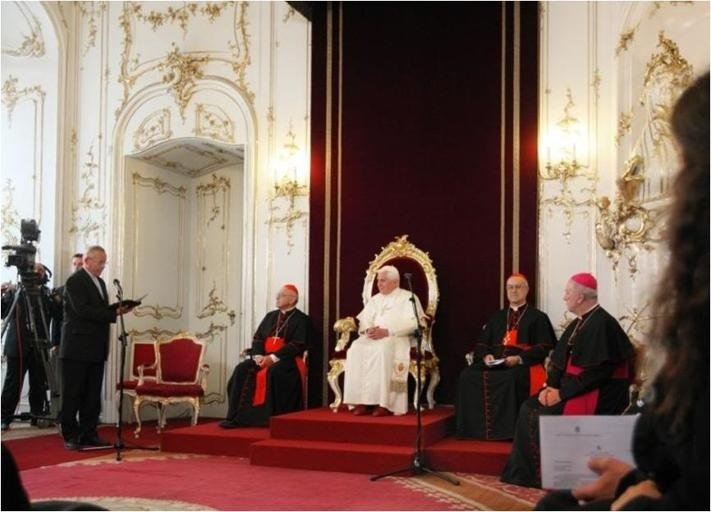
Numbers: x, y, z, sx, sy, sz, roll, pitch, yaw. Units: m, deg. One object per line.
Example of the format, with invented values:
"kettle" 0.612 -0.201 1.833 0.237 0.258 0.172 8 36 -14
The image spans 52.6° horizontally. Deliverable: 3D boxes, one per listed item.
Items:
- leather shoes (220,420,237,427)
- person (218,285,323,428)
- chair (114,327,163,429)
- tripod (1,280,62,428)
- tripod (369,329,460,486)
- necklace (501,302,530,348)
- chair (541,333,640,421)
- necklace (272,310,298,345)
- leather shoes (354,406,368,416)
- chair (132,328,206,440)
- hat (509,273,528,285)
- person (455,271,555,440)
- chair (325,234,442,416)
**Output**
"leather shoes" -1.251 1.651 7.073 0.182 0.076 0.090 -6 -8 36
"person" -0.875 1.004 7.421 0.608 1.444 0.972 -4 -7 32
"chair" -2.369 1.464 8.372 0.678 1.040 0.704 13 -2 -23
"tripod" -3.677 1.071 8.061 0.551 1.623 0.604 2 -6 -26
"tripod" 0.477 1.247 6.103 0.704 1.183 1.064 -1 -6 1
"necklace" 1.523 0.687 6.895 0.160 0.457 0.071 -8 -36 34
"chair" 1.921 0.947 6.043 0.833 0.956 0.861 -5 0 18
"necklace" -0.735 0.754 7.625 0.225 0.385 0.095 -4 -34 19
"leather shoes" 0.043 1.441 6.681 0.056 0.107 0.156 -14 -25 32
"chair" -1.948 1.384 7.842 0.771 1.099 0.812 0 -5 15
"hat" 1.605 0.219 7.034 0.130 0.090 0.136 -2 -12 22
"person" 1.409 0.927 6.578 0.906 1.531 0.868 -17 -39 41
"chair" 0.355 0.660 7.301 1.086 1.673 0.959 -1 -2 41
